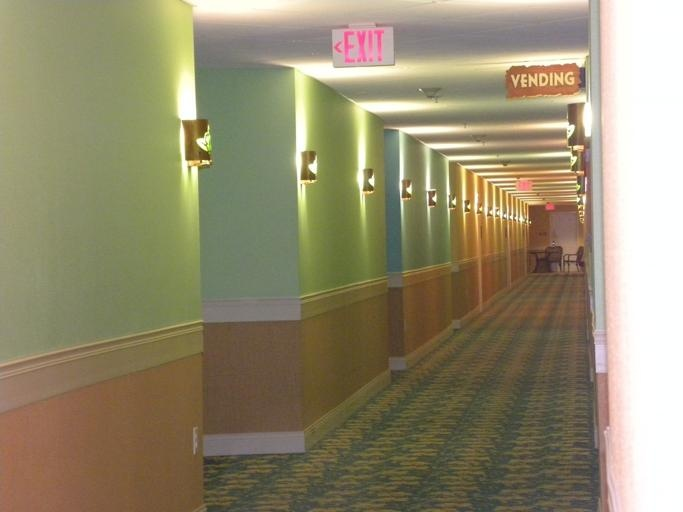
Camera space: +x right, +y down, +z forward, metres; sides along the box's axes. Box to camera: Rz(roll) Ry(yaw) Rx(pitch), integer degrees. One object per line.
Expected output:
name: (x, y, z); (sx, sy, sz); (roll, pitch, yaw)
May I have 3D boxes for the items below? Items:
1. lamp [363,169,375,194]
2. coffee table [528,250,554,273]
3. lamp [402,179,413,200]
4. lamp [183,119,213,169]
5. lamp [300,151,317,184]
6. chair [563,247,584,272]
lamp: (0.368, -1.006, 7.604); (0.118, 0.335, 0.329); (1, 8, 14)
coffee table: (11.814, 0.328, 33.603); (1.163, 1.225, 1.229); (-2, 1, 17)
lamp: (1.080, -1.099, 9.354); (0.124, 0.338, 0.361); (1, 9, 15)
lamp: (-1.020, -0.811, 4.036); (0.162, 0.342, 0.212); (1, 8, 8)
lamp: (-0.321, -0.923, 5.768); (0.096, 0.295, 0.289); (1, 11, 23)
chair: (13.792, 0.196, 33.601); (1.290, 1.975, 1.345); (1, -3, 0)
